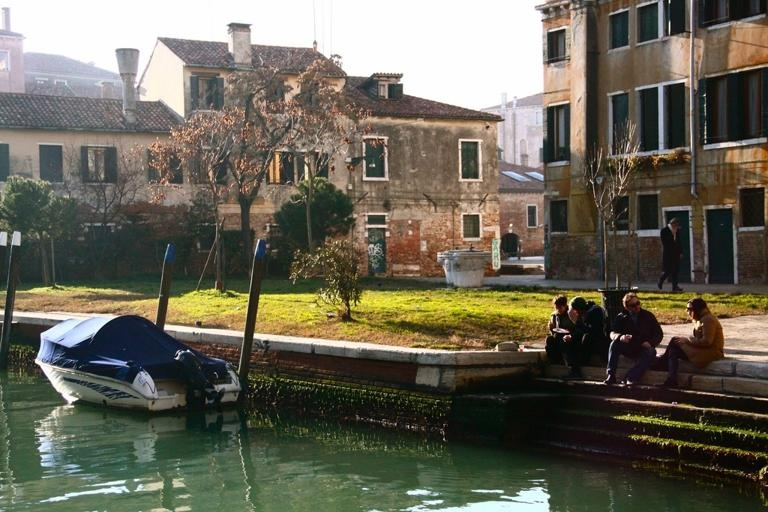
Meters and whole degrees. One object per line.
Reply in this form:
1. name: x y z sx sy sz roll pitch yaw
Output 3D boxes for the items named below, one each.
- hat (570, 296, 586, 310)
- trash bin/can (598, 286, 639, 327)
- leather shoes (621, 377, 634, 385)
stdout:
1. hat: 4.251 1.027 20.334 0.258 0.222 0.273 -1 8 28
2. trash bin/can: 5.138 1.122 20.701 0.819 1.099 0.787 0 -2 10
3. leather shoes: 4.982 2.580 19.130 0.171 0.130 0.073 46 20 30
